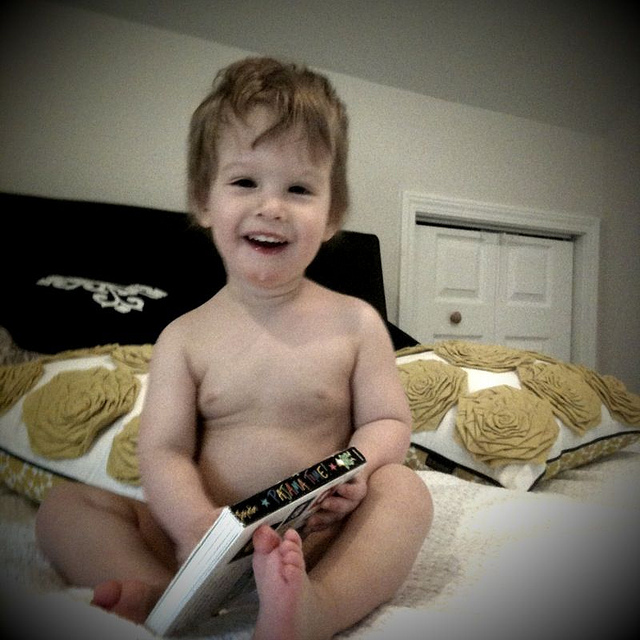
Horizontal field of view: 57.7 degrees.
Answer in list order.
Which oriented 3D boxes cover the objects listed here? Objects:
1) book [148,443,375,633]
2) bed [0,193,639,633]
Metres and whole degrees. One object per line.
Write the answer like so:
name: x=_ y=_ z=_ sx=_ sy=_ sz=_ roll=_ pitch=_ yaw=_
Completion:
book: x=-0.067 y=0.248 z=0.558 sx=0.186 sy=0.173 sz=0.044 roll=-25 pitch=64 yaw=-37
bed: x=0.049 y=0.145 z=0.782 sx=0.613 sy=0.296 sz=0.603 roll=-24 pitch=39 yaw=-27
